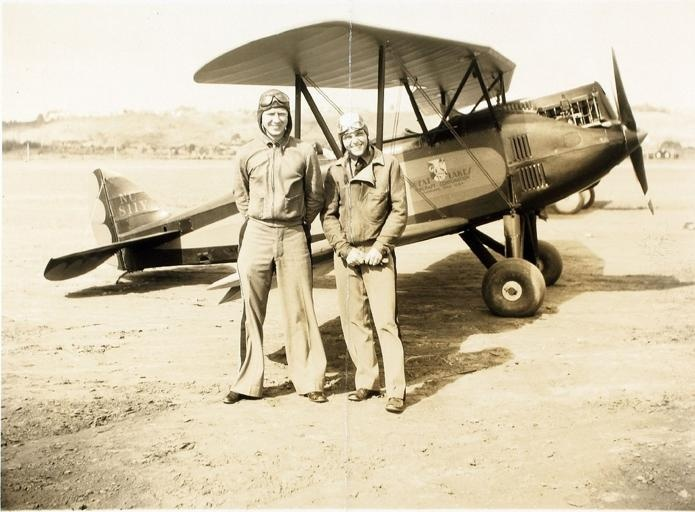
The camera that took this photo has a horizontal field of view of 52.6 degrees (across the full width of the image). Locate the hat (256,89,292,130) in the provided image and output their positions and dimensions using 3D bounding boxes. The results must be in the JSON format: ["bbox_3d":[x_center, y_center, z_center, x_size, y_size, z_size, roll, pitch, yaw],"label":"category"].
[{"bbox_3d":[-0.860,-1.773,8.293,0.355,0.447,0.428,-1,9,-6],"label":"hat"}]

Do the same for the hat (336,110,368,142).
[{"bbox_3d":[0.045,-1.561,8.380,0.253,0.266,0.336,-11,-26,-1],"label":"hat"}]

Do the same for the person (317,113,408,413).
[{"bbox_3d":[0.185,0.081,8.384,1.017,3.509,0.775,0,12,16],"label":"person"}]

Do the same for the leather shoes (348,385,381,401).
[{"bbox_3d":[0.196,1.656,8.543,0.455,0.202,0.152,3,0,-27],"label":"leather shoes"}]

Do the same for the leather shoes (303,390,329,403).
[{"bbox_3d":[-0.386,1.725,8.592,0.317,0.120,0.130,0,0,38],"label":"leather shoes"}]

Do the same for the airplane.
[{"bbox_3d":[0.743,-1.788,11.907,6.538,2.981,8.104,1,11,12],"label":"airplane"}]

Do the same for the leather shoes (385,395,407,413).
[{"bbox_3d":[0.570,1.754,8.294,0.165,0.145,0.344,1,-9,5],"label":"leather shoes"}]
